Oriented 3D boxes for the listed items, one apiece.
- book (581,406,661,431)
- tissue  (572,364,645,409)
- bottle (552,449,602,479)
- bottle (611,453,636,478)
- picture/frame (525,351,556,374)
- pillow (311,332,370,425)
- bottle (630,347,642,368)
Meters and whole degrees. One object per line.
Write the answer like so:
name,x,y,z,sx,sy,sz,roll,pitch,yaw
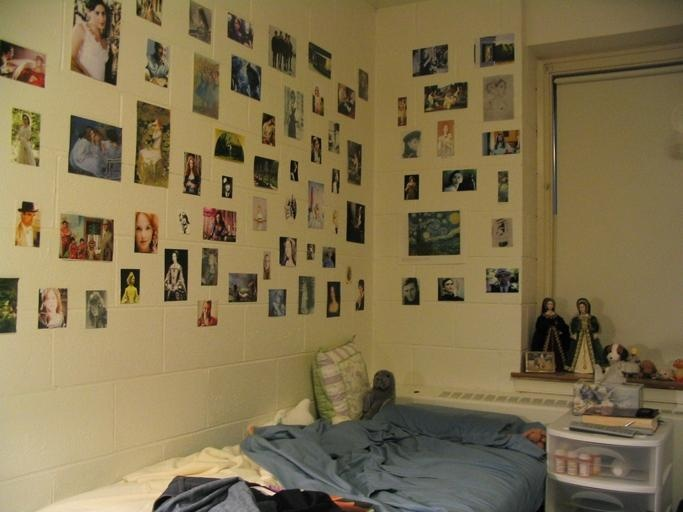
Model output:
book,1.562,0.905,2.829,0.205,0.050,0.202,4,-6,-43
tissue ,1.587,0.802,2.998,0.263,0.176,0.263,0,-5,-43
bottle,1.285,1.142,2.790,0.192,0.200,0.122,-1,-1,32
bottle,1.508,1.133,2.718,0.101,0.087,0.032,8,7,15
picture/frame,1.457,0.778,3.695,0.146,0.133,0.022,0,-8,17
pillow,0.004,0.894,3.572,0.325,0.443,0.500,10,7,34
bottle,2.074,0.701,3.546,0.064,0.170,0.106,-3,4,-6
